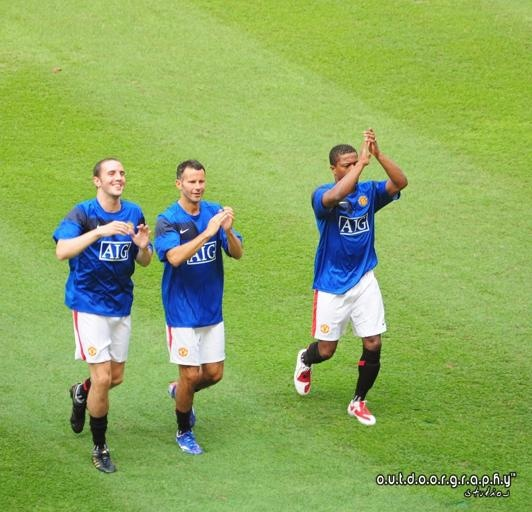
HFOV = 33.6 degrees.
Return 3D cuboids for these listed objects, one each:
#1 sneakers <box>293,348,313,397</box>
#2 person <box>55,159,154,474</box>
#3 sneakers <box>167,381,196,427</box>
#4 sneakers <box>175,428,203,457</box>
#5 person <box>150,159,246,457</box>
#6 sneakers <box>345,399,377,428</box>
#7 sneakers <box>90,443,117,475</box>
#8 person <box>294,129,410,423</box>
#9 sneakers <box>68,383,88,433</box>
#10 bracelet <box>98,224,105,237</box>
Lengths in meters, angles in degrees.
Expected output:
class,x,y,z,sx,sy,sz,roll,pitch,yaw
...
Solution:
class,x,y,z,sx,sy,sz,roll,pitch,yaw
sneakers,0.284,0.973,7.431,0.141,0.380,0.157,-1,1,-31
person,-1.185,0.429,6.468,0.691,2.129,1.118,0,27,-8
sneakers,-0.684,1.162,7.059,0.153,0.423,0.199,-9,-2,-8
sneakers,-0.587,1.401,6.684,0.117,0.092,0.224,-17,41,-39
person,-0.542,0.410,6.599,0.629,2.121,0.940,5,27,1
sneakers,0.775,1.251,7.090,0.131,0.113,0.261,-11,28,-43
sneakers,-1.175,1.472,6.381,0.107,0.112,0.259,-13,29,-31
person,0.655,0.159,7.079,0.717,2.332,0.973,6,27,4
sneakers,-1.501,1.181,6.841,0.128,0.382,0.190,-10,15,-36
bracelet,-1.140,-0.174,6.151,0.048,0.061,0.017,2,-12,11
